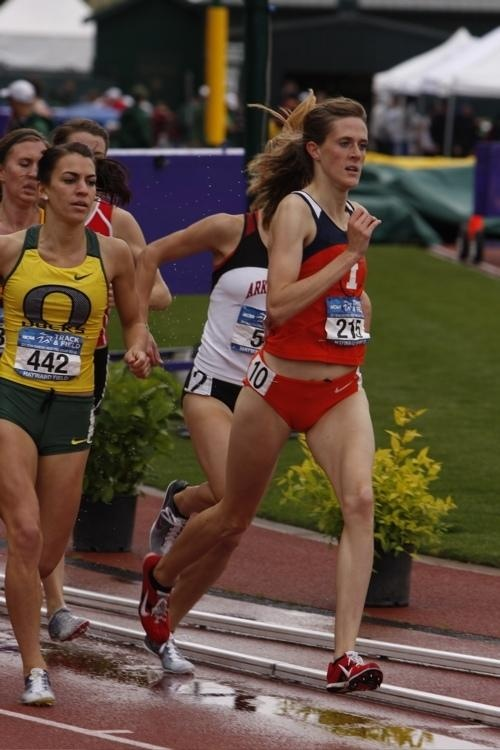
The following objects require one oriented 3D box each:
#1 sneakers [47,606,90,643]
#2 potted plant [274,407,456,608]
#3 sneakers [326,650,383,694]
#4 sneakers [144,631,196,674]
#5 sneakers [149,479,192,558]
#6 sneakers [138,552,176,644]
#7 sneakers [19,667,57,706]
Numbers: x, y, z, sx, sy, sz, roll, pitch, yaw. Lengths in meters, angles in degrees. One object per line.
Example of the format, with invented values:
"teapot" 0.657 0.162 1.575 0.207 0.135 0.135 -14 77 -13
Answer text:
"sneakers" -0.682 0.930 2.889 0.082 0.101 0.220 -34 10 -30
"potted plant" 0.506 0.652 3.592 0.636 0.804 0.780 -1 -8 -4
"sneakers" 0.280 0.775 2.012 0.079 0.081 0.184 29 -38 -34
"sneakers" -0.274 0.985 2.710 0.228 0.092 0.078 19 17 41
"sneakers" -0.340 0.582 3.114 0.139 0.345 0.141 24 10 -14
"sneakers" -0.353 0.803 2.756 0.109 0.281 0.132 -6 -6 -33
"sneakers" -0.608 0.898 2.202 0.061 0.062 0.149 1 -5 -15
